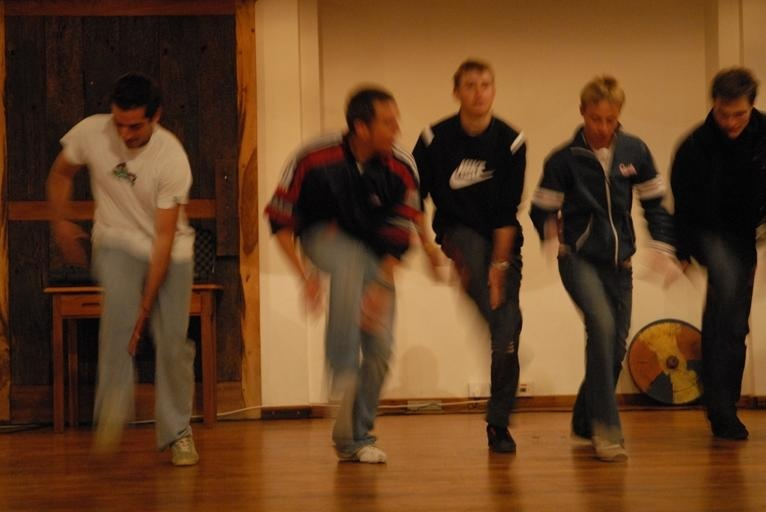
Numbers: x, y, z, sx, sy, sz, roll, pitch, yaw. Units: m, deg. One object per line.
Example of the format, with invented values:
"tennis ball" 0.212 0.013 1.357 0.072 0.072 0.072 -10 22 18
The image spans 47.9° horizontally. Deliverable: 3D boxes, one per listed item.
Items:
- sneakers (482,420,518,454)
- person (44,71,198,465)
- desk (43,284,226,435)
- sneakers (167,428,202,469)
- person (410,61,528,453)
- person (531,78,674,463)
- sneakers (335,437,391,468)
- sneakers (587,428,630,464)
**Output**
"sneakers" 0.708 1.092 5.197 0.124 0.114 0.256 2 -14 -4
"person" -1.430 0.116 4.820 0.757 2.210 0.533 -2 5 -17
"desk" -1.886 0.445 6.662 1.250 1.151 1.057 2 32 -5
"sneakers" -1.162 1.123 5.025 0.158 0.170 0.404 -2 -7 -9
"person" 0.535 -0.087 5.207 0.636 2.157 0.339 0 5 12
"person" 1.293 0.053 4.992 0.846 2.145 0.454 0 5 10
"sneakers" -0.113 1.130 4.965 0.220 0.107 0.134 -2 -3 2
"sneakers" 1.282 1.082 4.927 0.105 0.108 0.244 -2 -9 -5
